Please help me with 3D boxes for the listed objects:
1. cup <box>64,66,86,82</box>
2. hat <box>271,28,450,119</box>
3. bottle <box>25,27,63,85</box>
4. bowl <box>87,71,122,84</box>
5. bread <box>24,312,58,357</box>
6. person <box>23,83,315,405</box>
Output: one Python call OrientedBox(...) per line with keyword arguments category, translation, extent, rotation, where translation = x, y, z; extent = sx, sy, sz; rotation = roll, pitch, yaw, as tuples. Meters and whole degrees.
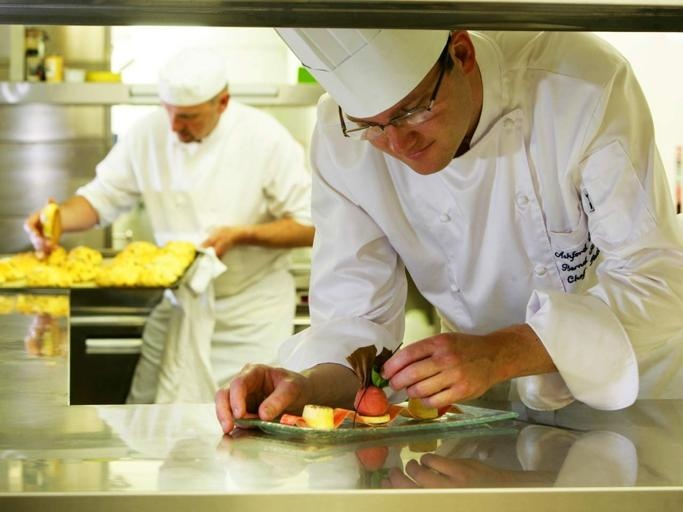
OrientedBox(category="cup", translation=(-1.262, -0.852, 3.604), extent=(0.093, 0.054, 0.090), rotation=(2, 14, 0))
OrientedBox(category="hat", translation=(0.026, -0.321, 1.262), extent=(0.216, 0.128, 0.170), rotation=(-29, 30, -36))
OrientedBox(category="bottle", translation=(-1.424, -0.959, 3.637), extent=(0.180, 0.261, 0.234), rotation=(-3, 10, -21))
OrientedBox(category="bowl", translation=(-1.121, -0.844, 3.591), extent=(0.165, 0.073, 0.329), rotation=(-2, 10, -17))
OrientedBox(category="bread", translation=(-0.662, 0.175, 1.693), extent=(0.072, 0.045, 0.135), rotation=(10, 21, -24))
OrientedBox(category="person", translation=(-0.666, 0.067, 3.081), extent=(1.201, 1.606, 0.899), rotation=(-1, 10, -4))
